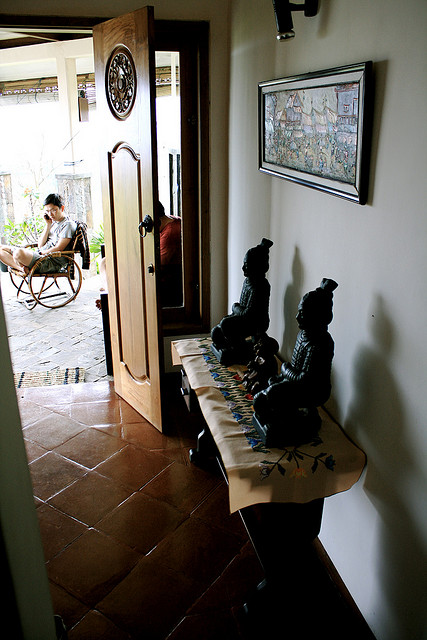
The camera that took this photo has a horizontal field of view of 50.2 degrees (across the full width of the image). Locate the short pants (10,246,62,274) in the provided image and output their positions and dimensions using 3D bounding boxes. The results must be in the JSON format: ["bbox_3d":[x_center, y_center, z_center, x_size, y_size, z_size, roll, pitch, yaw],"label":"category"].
[{"bbox_3d":[-1.943,-0.652,5.159,0.414,0.150,0.307,-3,16,-37],"label":"short pants"}]

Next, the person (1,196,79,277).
[{"bbox_3d":[-2.052,-0.995,5.528,0.837,1.104,0.858,-5,31,-13],"label":"person"}]
